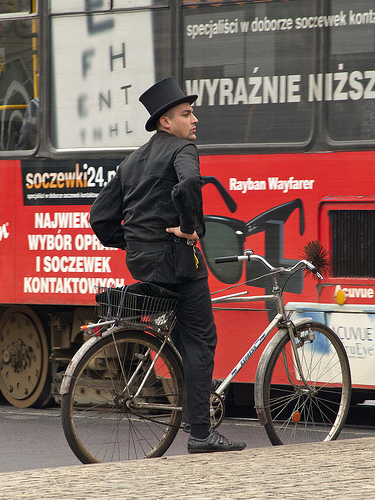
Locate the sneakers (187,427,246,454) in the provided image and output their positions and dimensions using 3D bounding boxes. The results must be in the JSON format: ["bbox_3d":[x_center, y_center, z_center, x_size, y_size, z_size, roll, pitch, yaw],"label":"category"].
[{"bbox_3d":[0.131,1.020,5.516,0.352,0.158,0.116,-1,-2,-17],"label":"sneakers"}]

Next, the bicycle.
[{"bbox_3d":[0.223,0.609,5.668,1.865,1.227,0.721,0,1,-27],"label":"bicycle"}]

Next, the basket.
[{"bbox_3d":[-0.251,0.318,5.425,0.319,0.150,0.239,9,-14,-38],"label":"basket"}]

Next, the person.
[{"bbox_3d":[-0.150,0.076,5.493,0.701,1.354,0.482,-2,-1,32],"label":"person"}]

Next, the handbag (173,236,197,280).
[{"bbox_3d":[0.010,0.018,5.344,0.148,0.283,0.063,-2,31,-20],"label":"handbag"}]

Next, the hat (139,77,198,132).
[{"bbox_3d":[-0.127,-0.816,5.589,0.342,0.196,0.309,-29,0,-4],"label":"hat"}]
